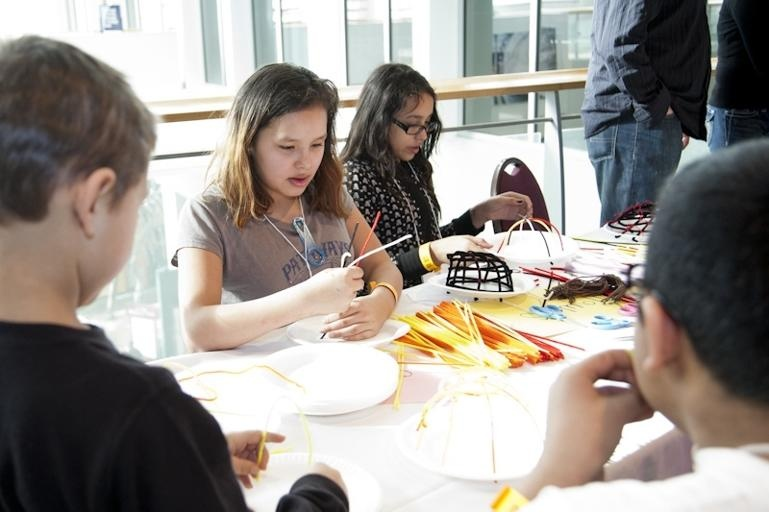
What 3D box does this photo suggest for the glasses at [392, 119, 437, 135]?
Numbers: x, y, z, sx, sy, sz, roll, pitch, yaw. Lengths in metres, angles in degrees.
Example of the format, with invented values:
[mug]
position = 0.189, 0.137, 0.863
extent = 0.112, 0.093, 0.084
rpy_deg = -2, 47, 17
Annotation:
[glasses]
position = 0.107, -0.497, 2.309
extent = 0.078, 0.024, 0.078
rpy_deg = -15, 33, -43
